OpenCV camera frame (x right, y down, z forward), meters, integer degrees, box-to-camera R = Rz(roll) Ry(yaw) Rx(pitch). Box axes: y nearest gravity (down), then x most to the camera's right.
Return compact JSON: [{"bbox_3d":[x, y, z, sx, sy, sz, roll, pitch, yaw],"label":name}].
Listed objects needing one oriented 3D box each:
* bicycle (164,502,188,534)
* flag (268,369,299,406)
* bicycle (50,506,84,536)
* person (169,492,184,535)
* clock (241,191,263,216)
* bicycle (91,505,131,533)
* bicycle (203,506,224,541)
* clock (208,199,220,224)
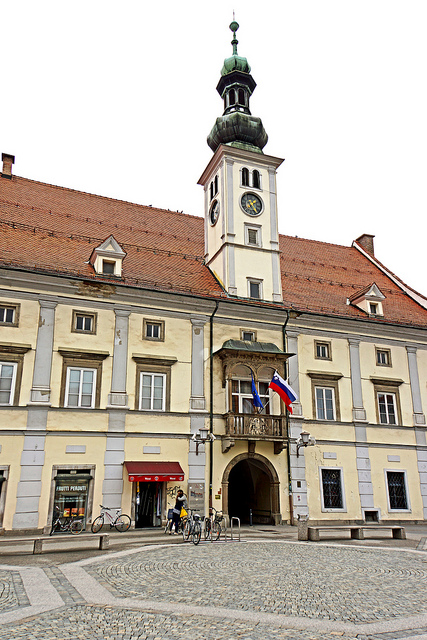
[{"bbox_3d":[-1.224,7.455,18.272,0.719,0.871,1.411,11,-48,-8],"label":"bicycle"},{"bbox_3d":[3.222,3.259,23.524,1.476,1.674,0.248,22,-22,22],"label":"flag"},{"bbox_3d":[-5.597,7.682,18.865,1.245,0.847,0.616,12,-37,-10],"label":"bicycle"},{"bbox_3d":[-1.358,7.107,18.326,0.380,1.470,1.587,4,-19,-10],"label":"person"},{"bbox_3d":[2.079,-6.417,27.868,1.574,1.581,0.141,0,-11,-41],"label":"clock"},{"bbox_3d":[-3.975,7.893,19.776,1.453,0.894,0.756,16,-41,-25],"label":"bicycle"},{"bbox_3d":[-0.008,7.325,17.654,0.753,0.766,1.242,6,-19,-2],"label":"bicycle"},{"bbox_3d":[0.022,-6.191,28.835,0.062,1.652,1.474,8,-20,-20],"label":"clock"}]
